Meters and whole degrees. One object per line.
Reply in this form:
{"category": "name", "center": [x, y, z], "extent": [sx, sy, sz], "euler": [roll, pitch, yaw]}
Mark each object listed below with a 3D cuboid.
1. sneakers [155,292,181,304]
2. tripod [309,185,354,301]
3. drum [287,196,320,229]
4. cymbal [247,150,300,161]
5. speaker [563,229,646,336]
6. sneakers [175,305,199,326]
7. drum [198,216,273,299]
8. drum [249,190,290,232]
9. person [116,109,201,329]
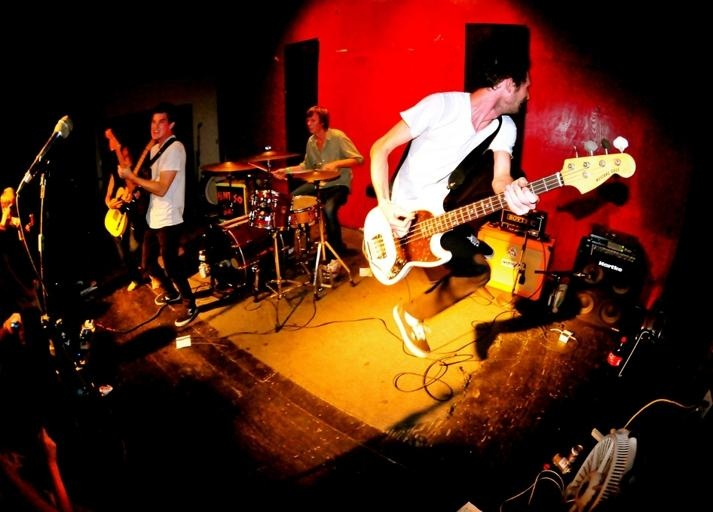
{"category": "sneakers", "center": [-2.169, 0.494, 5.949], "extent": [0.286, 0.144, 0.106], "euler": [1, 0, 4]}
{"category": "tripod", "center": [-0.310, -0.304, 6.349], "extent": [0.501, 1.305, 1.127], "euler": [-3, 18, -1]}
{"category": "drum", "center": [-0.604, -0.491, 5.840], "extent": [0.326, 0.204, 0.328], "euler": [-2, 26, 1]}
{"category": "cymbal", "center": [-1.082, -1.351, 6.956], "extent": [0.391, 0.085, 0.399], "euler": [20, 30, 40]}
{"category": "speaker", "center": [2.797, 0.207, 5.573], "extent": [0.578, 1.047, 0.620], "euler": [-18, 31, -36]}
{"category": "sneakers", "center": [-1.831, 0.658, 5.576], "extent": [0.114, 0.150, 0.350], "euler": [40, 14, -6]}
{"category": "drum", "center": [-1.345, 0.058, 5.930], "extent": [0.789, 0.846, 0.528], "euler": [-6, 18, -11]}
{"category": "drum", "center": [-0.991, -0.511, 5.697], "extent": [0.399, 0.416, 0.436], "euler": [11, 12, 26]}
{"category": "person", "center": [-2.049, -0.415, 5.495], "extent": [0.585, 2.248, 0.586], "euler": [2, 18, 13]}
